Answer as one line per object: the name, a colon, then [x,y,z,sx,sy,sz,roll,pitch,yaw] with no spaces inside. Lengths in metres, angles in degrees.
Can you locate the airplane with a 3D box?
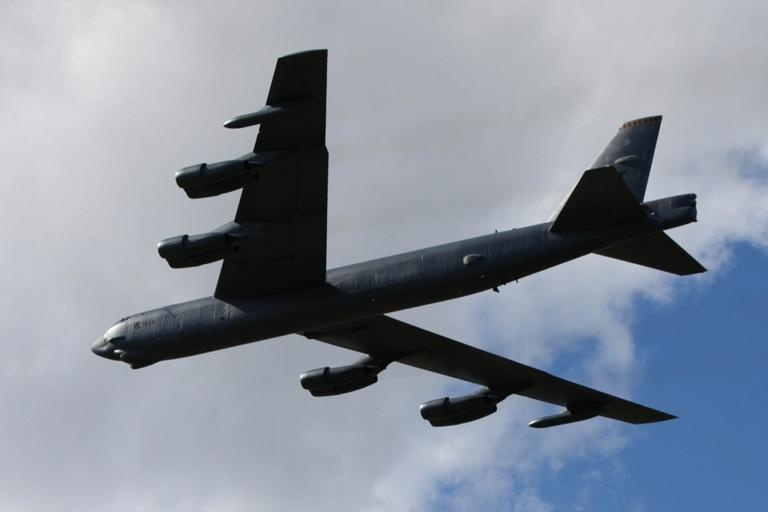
airplane: [0.030,-0.209,38.574,13.928,3.174,13.280,-16,-43,17]
